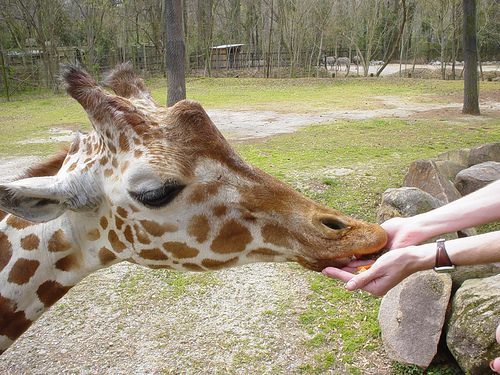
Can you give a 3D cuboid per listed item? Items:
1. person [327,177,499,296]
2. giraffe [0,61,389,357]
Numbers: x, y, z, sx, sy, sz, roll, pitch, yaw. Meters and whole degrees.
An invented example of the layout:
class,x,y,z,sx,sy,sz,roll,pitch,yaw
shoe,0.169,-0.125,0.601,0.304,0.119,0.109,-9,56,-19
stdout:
class,x,y,z,sx,sy,sz,roll,pitch,yaw
person,1.099,0.367,2.927,1.030,0.237,0.708,-19,30,14
giraffe,-0.521,-0.070,3.632,2.791,1.899,1.442,2,30,5
